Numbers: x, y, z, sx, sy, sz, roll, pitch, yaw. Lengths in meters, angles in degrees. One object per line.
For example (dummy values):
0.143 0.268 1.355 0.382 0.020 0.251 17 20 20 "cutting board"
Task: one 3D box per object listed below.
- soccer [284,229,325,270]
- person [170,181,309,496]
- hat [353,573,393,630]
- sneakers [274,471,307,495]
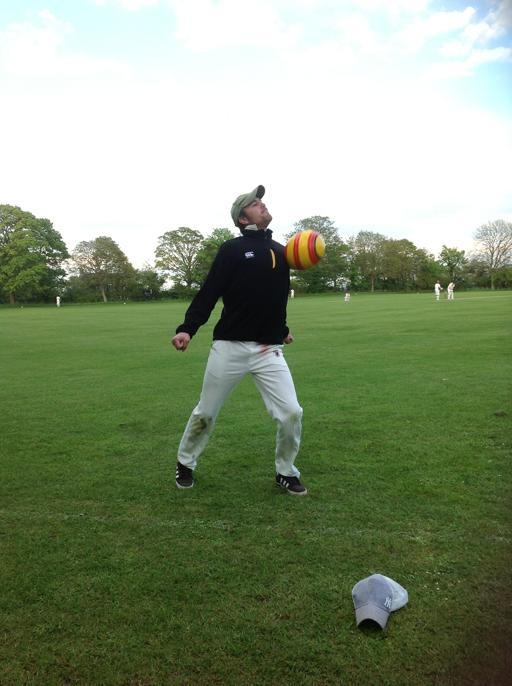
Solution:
0.325 -0.637 3.662 0.294 0.320 0.282 2 4 5 "soccer"
-0.099 -0.020 3.583 0.937 2.074 0.872 -4 8 -18 "person"
0.495 1.106 2.265 0.163 0.100 0.244 0 7 13 "hat"
0.244 0.976 3.636 0.086 0.090 0.240 1 -4 -41 "sneakers"
